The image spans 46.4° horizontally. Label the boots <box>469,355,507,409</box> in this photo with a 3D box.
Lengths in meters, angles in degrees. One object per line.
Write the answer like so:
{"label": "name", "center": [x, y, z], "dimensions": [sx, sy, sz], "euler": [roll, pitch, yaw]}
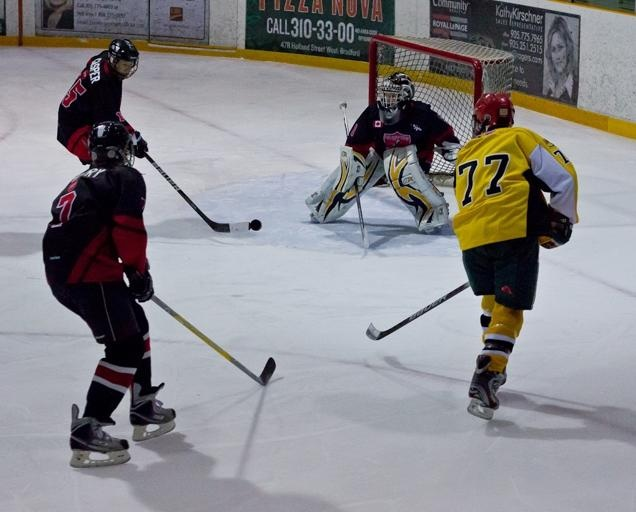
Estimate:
{"label": "boots", "center": [0.650, 0.476, 2.833], "dimensions": [0.124, 0.200, 0.104], "euler": [7, 15, 12]}

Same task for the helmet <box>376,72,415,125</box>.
{"label": "helmet", "center": [0.531, -1.080, 5.084], "dimensions": [0.245, 0.346, 0.201], "euler": [4, 14, 3]}

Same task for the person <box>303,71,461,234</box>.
{"label": "person", "center": [0.494, -0.743, 5.254], "dimensions": [1.300, 0.934, 0.716], "euler": [5, 24, 28]}

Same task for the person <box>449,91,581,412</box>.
{"label": "person", "center": [0.762, -0.015, 2.940], "dimensions": [0.456, 1.236, 0.549], "euler": [1, 15, -8]}

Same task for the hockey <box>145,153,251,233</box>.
{"label": "hockey", "center": [-0.895, -0.448, 5.180], "dimensions": [1.099, 0.044, 0.353], "euler": [37, 46, 26]}

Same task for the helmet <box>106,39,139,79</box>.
{"label": "helmet", "center": [-1.262, -1.268, 4.784], "dimensions": [0.183, 0.229, 0.230], "euler": [0, 14, -14]}

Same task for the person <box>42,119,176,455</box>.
{"label": "person", "center": [-0.752, 0.132, 2.606], "dimensions": [0.439, 1.184, 0.452], "euler": [8, 15, 16]}

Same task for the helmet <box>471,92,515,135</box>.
{"label": "helmet", "center": [0.720, -0.588, 3.059], "dimensions": [0.175, 0.163, 0.185], "euler": [-3, 17, -5]}

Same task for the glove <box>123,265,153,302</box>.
{"label": "glove", "center": [-0.609, 0.084, 2.564], "dimensions": [0.069, 0.148, 0.069], "euler": [-18, 21, 3]}
